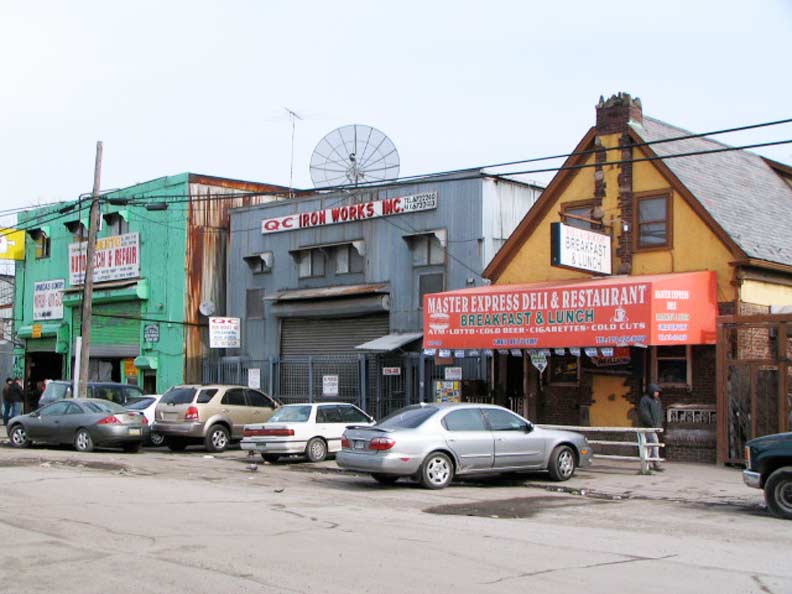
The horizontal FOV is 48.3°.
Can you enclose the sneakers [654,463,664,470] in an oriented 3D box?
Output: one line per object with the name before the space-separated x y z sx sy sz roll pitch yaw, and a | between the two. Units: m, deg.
sneakers | 6.154 4.015 20.665 0.258 0.208 0.096 -4 -3 34
